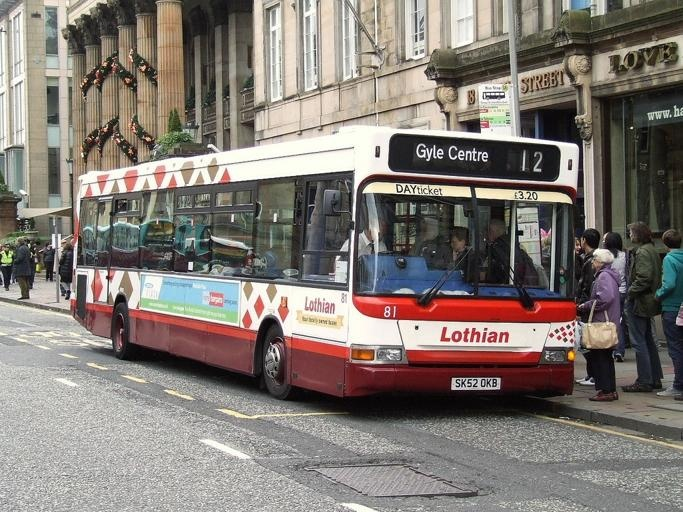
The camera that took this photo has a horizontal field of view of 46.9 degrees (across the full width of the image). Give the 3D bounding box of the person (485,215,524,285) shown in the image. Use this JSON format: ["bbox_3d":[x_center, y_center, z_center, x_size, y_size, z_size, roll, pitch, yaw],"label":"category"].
[{"bbox_3d":[2.009,-0.069,9.587,0.521,0.801,0.142,1,-2,-28],"label":"person"}]

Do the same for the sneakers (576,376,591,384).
[{"bbox_3d":[3.650,1.861,11.820,0.161,0.123,0.286,-4,-10,25],"label":"sneakers"}]

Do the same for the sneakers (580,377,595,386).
[{"bbox_3d":[3.676,1.880,11.739,0.242,0.107,0.146,8,-12,-38],"label":"sneakers"}]

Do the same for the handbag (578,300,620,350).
[{"bbox_3d":[3.366,0.882,10.233,0.461,0.743,0.188,-4,-19,24],"label":"handbag"}]

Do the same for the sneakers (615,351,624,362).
[{"bbox_3d":[4.912,1.779,13.830,0.076,0.115,0.248,0,4,4],"label":"sneakers"}]

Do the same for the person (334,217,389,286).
[{"bbox_3d":[0.224,-0.067,9.223,0.532,0.880,0.853,0,1,-5],"label":"person"}]

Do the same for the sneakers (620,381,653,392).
[{"bbox_3d":[4.138,1.826,10.968,0.431,0.197,0.169,3,-4,8],"label":"sneakers"}]
